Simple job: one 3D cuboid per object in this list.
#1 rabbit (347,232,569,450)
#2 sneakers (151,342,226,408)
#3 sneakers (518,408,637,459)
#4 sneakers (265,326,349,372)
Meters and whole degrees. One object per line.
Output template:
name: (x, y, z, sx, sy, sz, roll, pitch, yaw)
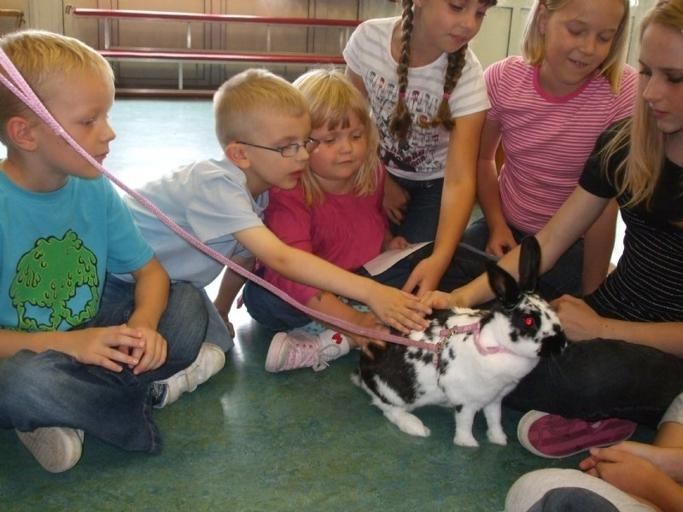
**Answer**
rabbit: (0.264, 0.231, 1.764, 0.578, 0.532, 0.657, 0, 20, -2)
sneakers: (-0.507, 0.400, 1.828, 0.214, 0.086, 0.128, -32, 18, -16)
sneakers: (0.685, 0.545, 1.708, 0.409, 0.165, 0.146, -3, 28, -6)
sneakers: (-0.136, 0.295, 2.081, 0.289, 0.143, 0.366, -5, 19, -16)
